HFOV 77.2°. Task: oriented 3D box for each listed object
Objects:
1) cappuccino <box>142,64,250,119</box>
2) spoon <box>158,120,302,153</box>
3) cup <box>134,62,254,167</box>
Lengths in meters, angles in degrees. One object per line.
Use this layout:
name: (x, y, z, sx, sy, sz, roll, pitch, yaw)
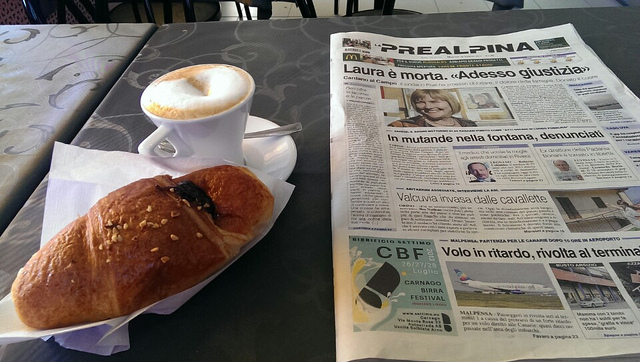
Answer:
cappuccino: (-0.183, -0.134, 0.610, 0.122, 0.028, 0.111, -21, 41, -23)
spoon: (-0.150, -0.070, 0.645, 0.179, 0.026, 0.021, -11, 63, 2)
cup: (-0.177, -0.104, 0.674, 0.153, 0.119, 0.185, 11, 42, 18)
